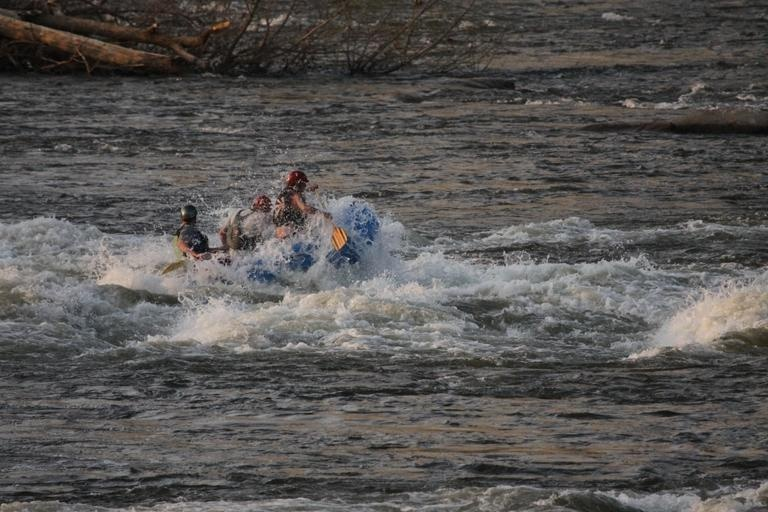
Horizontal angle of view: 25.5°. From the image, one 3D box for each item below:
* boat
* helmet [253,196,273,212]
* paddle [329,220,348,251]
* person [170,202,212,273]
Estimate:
[{"bbox_3d":[-1.987,-0.343,32.261,4.406,0.986,3.456,-5,-3,-18],"label":"boat"},{"bbox_3d":[-2.397,-1.020,32.415,0.355,0.274,0.380,5,16,22],"label":"helmet"},{"bbox_3d":[-0.907,-0.351,31.833,0.299,0.456,0.314,2,15,-2],"label":"paddle"},{"bbox_3d":[-3.702,-0.324,31.937,0.710,0.564,1.446,2,32,-17],"label":"person"}]
